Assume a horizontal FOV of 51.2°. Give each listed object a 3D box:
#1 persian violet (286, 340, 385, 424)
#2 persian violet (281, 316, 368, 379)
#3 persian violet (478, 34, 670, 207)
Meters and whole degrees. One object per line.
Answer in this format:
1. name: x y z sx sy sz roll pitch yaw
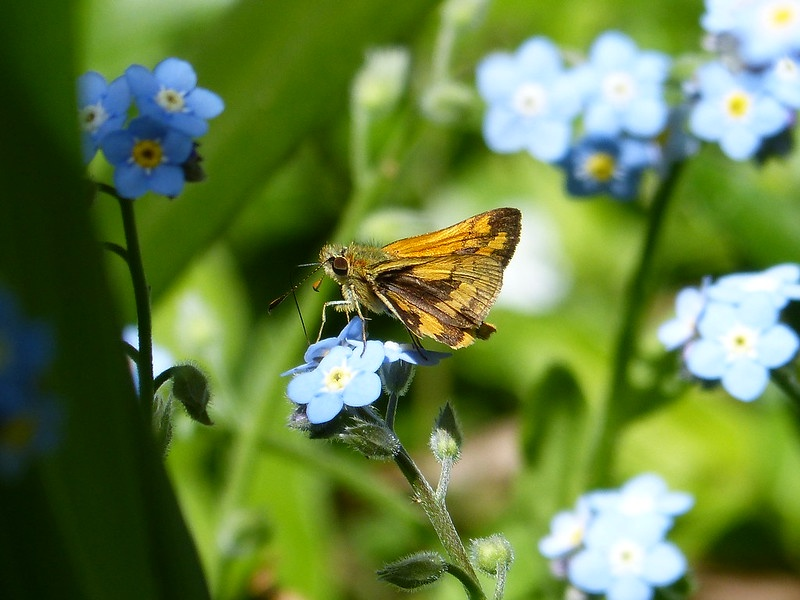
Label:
1. persian violet: -0.104 0.132 1.356 0.157 0.072 0.165 -1 41 -4
2. persian violet: -0.121 0.080 1.446 0.095 0.050 0.121 -14 -4 -31
3. persian violet: 0.389 -0.411 1.959 0.432 0.374 0.235 5 39 4
